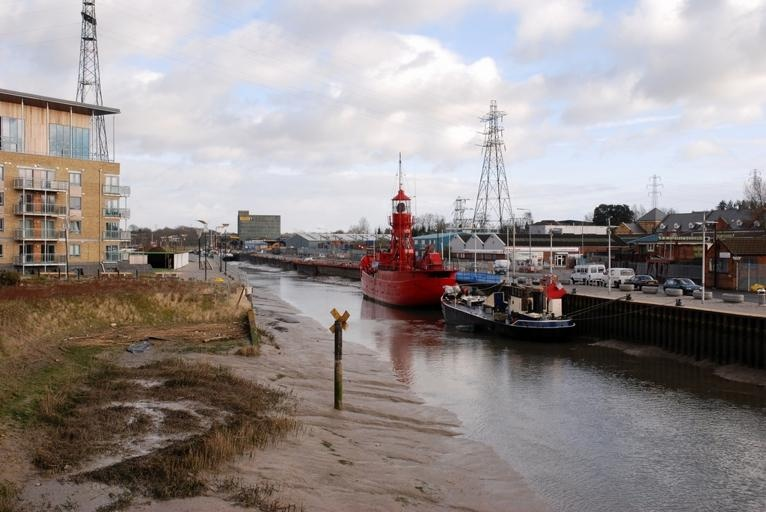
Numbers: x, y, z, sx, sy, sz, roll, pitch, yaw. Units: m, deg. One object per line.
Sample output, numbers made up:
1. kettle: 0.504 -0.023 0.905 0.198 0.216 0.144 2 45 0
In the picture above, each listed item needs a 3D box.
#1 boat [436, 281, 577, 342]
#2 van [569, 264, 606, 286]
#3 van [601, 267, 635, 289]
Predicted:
1. boat: 9.149 4.325 48.025 3.862 3.363 10.488 -1 1 -24
2. van: 21.362 1.913 65.791 2.162 1.541 3.145 -1 4 -12
3. van: 22.892 2.112 62.053 2.104 1.758 3.356 -1 -2 -3
